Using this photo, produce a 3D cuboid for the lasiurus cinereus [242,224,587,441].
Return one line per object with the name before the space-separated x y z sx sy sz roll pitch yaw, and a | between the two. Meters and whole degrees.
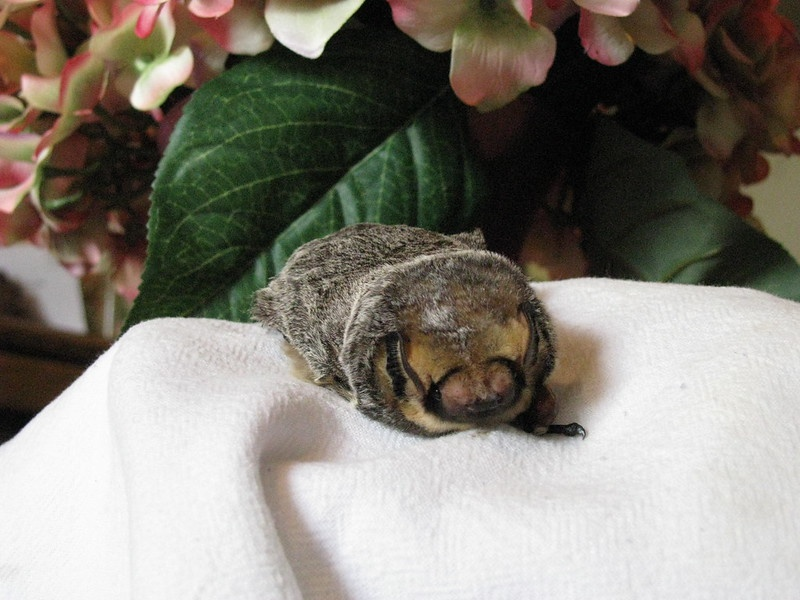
lasiurus cinereus | 0.000 -0.022 1.013 0.185 0.095 0.260 -12 34 -24
